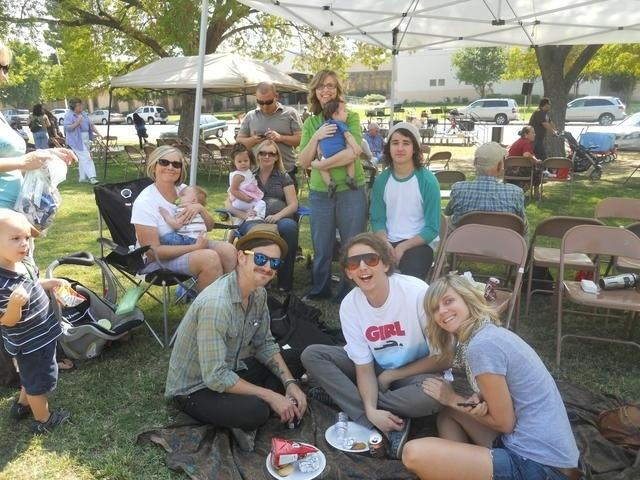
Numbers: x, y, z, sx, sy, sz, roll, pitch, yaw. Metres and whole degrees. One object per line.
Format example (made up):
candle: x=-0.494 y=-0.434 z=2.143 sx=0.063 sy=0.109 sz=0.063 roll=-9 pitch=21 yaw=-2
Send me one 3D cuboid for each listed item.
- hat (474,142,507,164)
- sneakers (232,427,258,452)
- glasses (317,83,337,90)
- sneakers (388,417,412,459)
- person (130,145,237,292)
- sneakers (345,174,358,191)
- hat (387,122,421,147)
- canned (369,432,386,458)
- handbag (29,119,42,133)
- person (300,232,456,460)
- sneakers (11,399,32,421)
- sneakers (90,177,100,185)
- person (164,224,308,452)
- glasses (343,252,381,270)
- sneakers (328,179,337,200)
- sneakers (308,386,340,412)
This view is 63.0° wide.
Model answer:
hat: x=1.625 y=-0.824 z=4.990 sx=0.243 sy=0.204 sz=0.379 roll=5 pitch=15 yaw=21
sneakers: x=-0.513 y=1.348 z=3.546 sx=0.054 sy=0.151 sz=0.150 roll=-26 pitch=13 yaw=-28
glasses: x=0.088 y=-1.498 z=5.132 sx=0.174 sy=0.069 sz=0.048 roll=-5 pitch=15 yaw=-17
sneakers: x=0.532 y=1.335 z=3.488 sx=0.094 sy=0.112 sz=0.277 roll=-32 pitch=14 yaw=20
person: x=-1.220 y=-0.063 z=4.765 sx=0.861 sy=1.660 sz=0.707 roll=-1 pitch=7 yaw=26
sneakers: x=0.312 y=-0.559 z=5.081 sx=0.070 sy=0.150 sz=0.154 roll=-8 pitch=-13 yaw=10
hat: x=0.807 y=-1.038 z=4.947 sx=0.290 sy=0.229 sz=0.296 roll=4 pitch=7 yaw=7
canned: x=0.380 y=1.359 z=3.459 sx=0.114 sy=0.119 sz=0.124 roll=-7 pitch=54 yaw=4
handbag: x=-6.382 y=-2.554 z=11.766 sx=0.196 sy=0.291 sz=0.265 roll=3 pitch=0 yaw=-7
person: x=0.424 y=0.682 z=3.661 sx=1.085 sy=1.320 sz=0.991 roll=-7 pitch=4 yaw=19
sneakers: x=-2.137 y=1.208 z=3.772 sx=0.074 sy=0.086 sz=0.194 roll=9 pitch=14 yaw=0
sneakers: x=-4.895 y=-1.237 z=11.337 sx=0.166 sy=0.098 sz=0.272 roll=-32 pitch=27 yaw=-26
person: x=-0.491 y=0.599 z=3.766 sx=1.002 sy=1.408 sz=1.027 roll=1 pitch=11 yaw=-38
glasses: x=0.292 y=0.149 z=3.612 sx=0.240 sy=0.122 sz=0.097 roll=1 pitch=14 yaw=6
sneakers: x=0.103 y=-0.498 z=5.135 sx=0.060 sy=0.183 sz=0.125 roll=0 pitch=9 yaw=-6
sneakers: x=0.016 y=1.188 z=3.992 sx=0.296 sy=0.134 sz=0.102 roll=12 pitch=29 yaw=19
